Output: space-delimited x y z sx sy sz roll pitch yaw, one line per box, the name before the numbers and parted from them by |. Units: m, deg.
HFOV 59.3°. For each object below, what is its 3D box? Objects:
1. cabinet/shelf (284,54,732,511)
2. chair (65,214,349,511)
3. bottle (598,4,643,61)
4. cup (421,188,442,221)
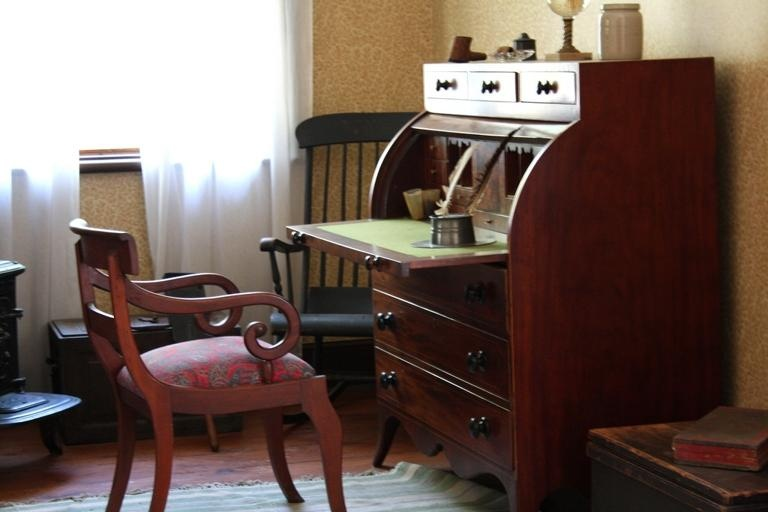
cabinet/shelf | 0.533 0.008 3.303 1.780 2.272 1.568 -3 5 -26
chair | -0.687 0.314 2.986 1.176 1.515 0.938 -3 6 -22
bottle | 0.824 -0.762 2.288 0.157 0.208 0.150 -2 9 0
cup | 0.192 -0.222 2.877 0.112 0.202 0.120 0 4 0
